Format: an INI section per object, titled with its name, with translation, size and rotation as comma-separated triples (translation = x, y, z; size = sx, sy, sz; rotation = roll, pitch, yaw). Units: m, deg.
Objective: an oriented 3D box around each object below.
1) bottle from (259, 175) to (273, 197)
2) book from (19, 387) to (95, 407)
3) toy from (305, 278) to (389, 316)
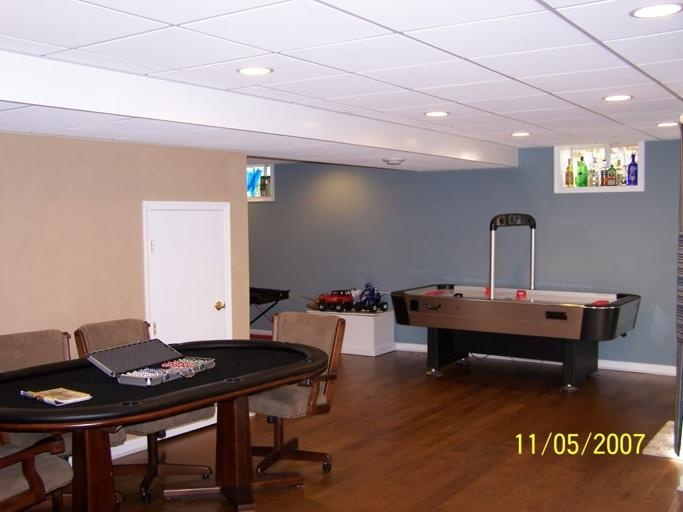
[bottle]
translation = -1.412, -1.283, 9.346
size = 0.237, 0.392, 0.124
rotation = -2, 5, 3
[book]
translation = -1.629, 0.791, 2.901
size = 0.427, 0.041, 0.239
rotation = 1, 4, 33
[toy]
translation = 0.130, 0.715, 8.256
size = 1.124, 0.381, 0.506
rotation = 0, -4, 18
